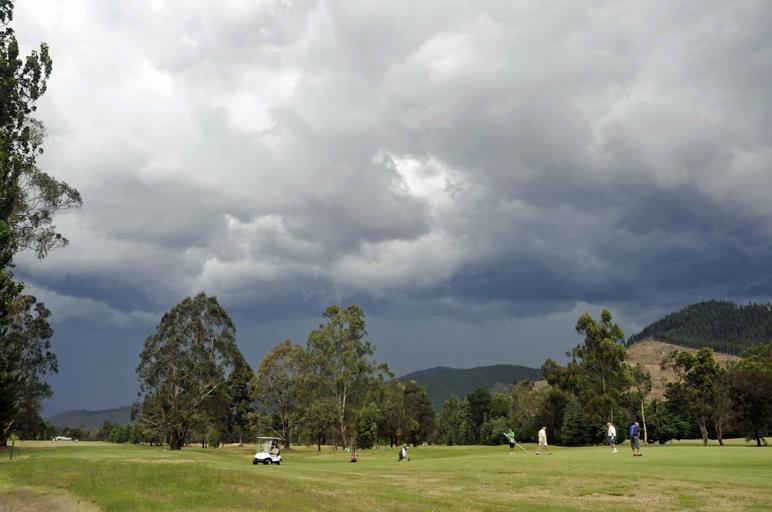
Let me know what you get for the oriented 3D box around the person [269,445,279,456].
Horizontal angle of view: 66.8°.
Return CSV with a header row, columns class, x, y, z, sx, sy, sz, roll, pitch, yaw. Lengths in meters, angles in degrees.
class,x,y,z,sx,sy,sz,roll,pitch,yaw
person,-14.556,25.475,76.734,0.774,1.566,1.971,-1,-22,0
